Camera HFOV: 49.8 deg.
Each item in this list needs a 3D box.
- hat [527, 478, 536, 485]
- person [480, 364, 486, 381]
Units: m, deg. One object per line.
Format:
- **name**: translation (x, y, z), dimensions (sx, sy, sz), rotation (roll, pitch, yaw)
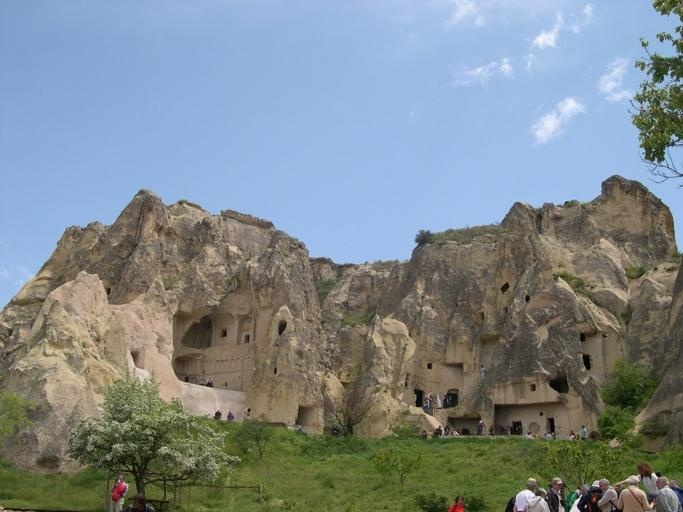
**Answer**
- **hat**: translation (6.499, 7.989, 24.991), dimensions (0.301, 0.280, 0.231), rotation (1, -3, -12)
- **person**: translation (10.684, 9.231, 55.126), dimensions (0.275, 0.878, 0.488), rotation (9, -6, -36)
